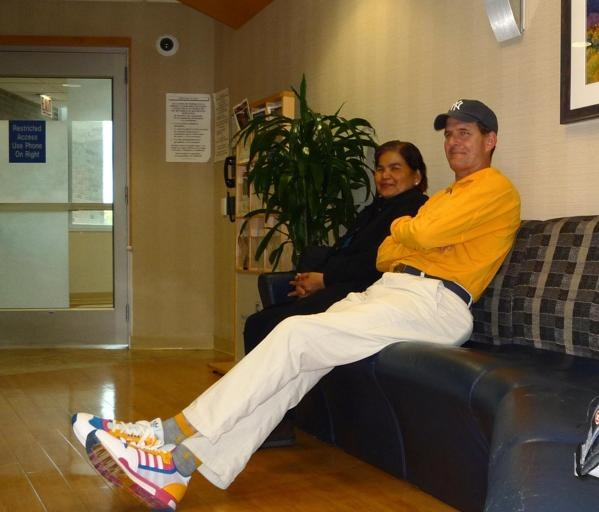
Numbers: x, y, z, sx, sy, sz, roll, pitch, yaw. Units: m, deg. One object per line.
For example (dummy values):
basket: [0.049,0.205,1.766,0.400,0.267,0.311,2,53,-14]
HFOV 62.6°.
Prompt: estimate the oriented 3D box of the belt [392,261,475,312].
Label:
belt: [0.552,0.100,1.981,0.223,0.085,0.216,38,59,18]

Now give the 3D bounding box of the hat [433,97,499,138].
hat: [0.726,-0.590,2.128,0.229,0.122,0.165,19,5,-17]
